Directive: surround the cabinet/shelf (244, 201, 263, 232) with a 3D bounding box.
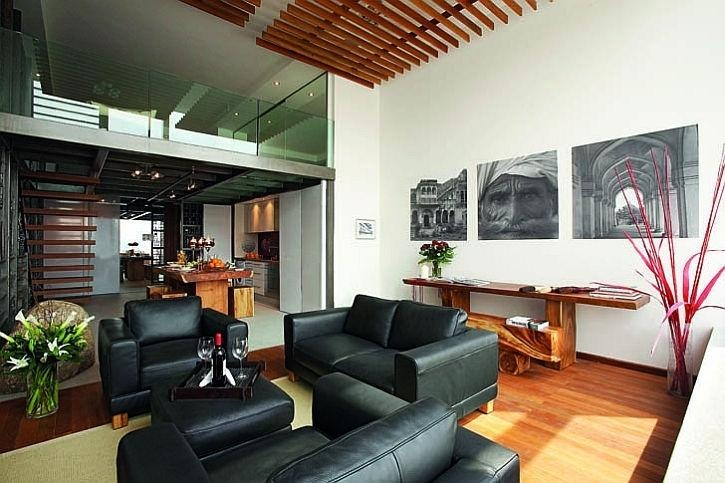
[{"bbox_3d":[-2.693,-0.648,11.097,0.447,0.746,0.810,0,-2,-29],"label":"cabinet/shelf"}]

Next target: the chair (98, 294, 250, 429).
[{"bbox_3d":[-2.237,1.293,5.258,1.475,1.018,1.019,-3,9,-37],"label":"chair"}]

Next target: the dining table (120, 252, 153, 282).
[{"bbox_3d":[-7.244,0.844,14.209,0.834,0.686,2.530,-4,3,-28],"label":"dining table"}]

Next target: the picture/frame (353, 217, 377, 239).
[{"bbox_3d":[0.038,-0.256,8.166,0.434,0.349,0.045,2,-5,-36],"label":"picture/frame"}]

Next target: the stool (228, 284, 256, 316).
[{"bbox_3d":[-2.311,1.152,8.626,0.563,0.761,0.541,0,2,-29],"label":"stool"}]

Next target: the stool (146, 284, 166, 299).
[{"bbox_3d":[-3.929,0.974,8.536,0.365,0.317,0.530,2,-3,-40],"label":"stool"}]

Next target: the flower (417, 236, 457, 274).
[{"bbox_3d":[1.168,0.249,7.239,0.592,0.549,0.571,2,-4,-9],"label":"flower"}]

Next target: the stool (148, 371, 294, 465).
[{"bbox_3d":[-1.165,1.524,3.843,0.768,0.308,0.703,0,-2,-10],"label":"stool"}]
